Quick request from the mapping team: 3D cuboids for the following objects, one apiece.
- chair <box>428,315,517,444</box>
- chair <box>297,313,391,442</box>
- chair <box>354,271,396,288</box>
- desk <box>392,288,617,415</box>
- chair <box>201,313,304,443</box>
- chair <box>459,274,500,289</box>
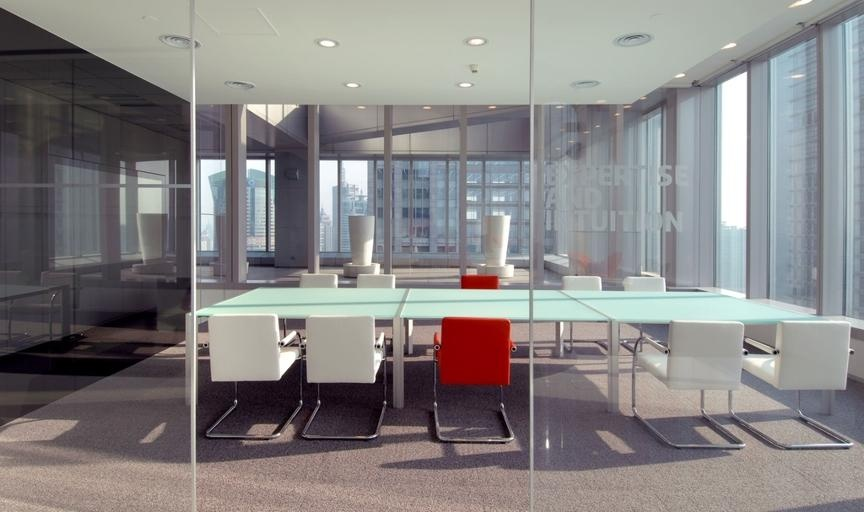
[{"bbox_3d":[0.356,1.094,5.694,0.776,1.122,0.778,-2,3,-1],"label":"chair"},{"bbox_3d":[-0.838,1.082,5.794,0.752,1.109,0.869,-2,3,0],"label":"chair"},{"bbox_3d":[-0.697,0.327,7.603,0.286,0.234,0.253,1,2,-1],"label":"chair"},{"bbox_3d":[0.535,0.828,5.624,1.640,0.546,1.304,1,1,5],"label":"desk"},{"bbox_3d":[-1.697,1.070,5.821,0.843,1.131,0.950,-2,3,-6],"label":"chair"},{"bbox_3d":[0.596,0.336,7.542,0.459,0.147,0.325,-1,3,1],"label":"chair"}]
